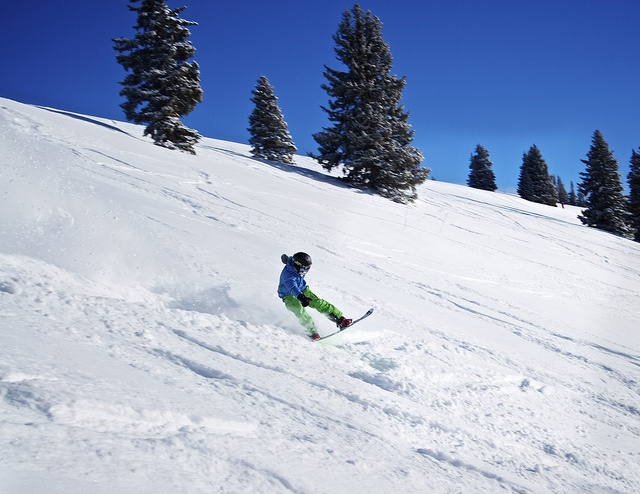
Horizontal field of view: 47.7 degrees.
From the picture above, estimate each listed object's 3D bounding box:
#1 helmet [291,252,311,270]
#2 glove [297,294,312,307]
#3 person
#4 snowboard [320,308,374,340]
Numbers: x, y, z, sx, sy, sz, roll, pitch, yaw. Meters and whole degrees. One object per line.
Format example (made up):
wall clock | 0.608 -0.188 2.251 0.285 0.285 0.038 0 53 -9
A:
helmet | -0.384 0.263 14.264 0.434 0.286 0.364 12 36 -7
glove | -0.314 1.029 14.007 0.233 0.183 0.243 10 4 23
person | -0.155 1.049 14.594 1.444 0.823 1.539 26 30 2
snowboard | 0.490 1.523 14.172 1.426 0.139 0.143 -19 -34 8
